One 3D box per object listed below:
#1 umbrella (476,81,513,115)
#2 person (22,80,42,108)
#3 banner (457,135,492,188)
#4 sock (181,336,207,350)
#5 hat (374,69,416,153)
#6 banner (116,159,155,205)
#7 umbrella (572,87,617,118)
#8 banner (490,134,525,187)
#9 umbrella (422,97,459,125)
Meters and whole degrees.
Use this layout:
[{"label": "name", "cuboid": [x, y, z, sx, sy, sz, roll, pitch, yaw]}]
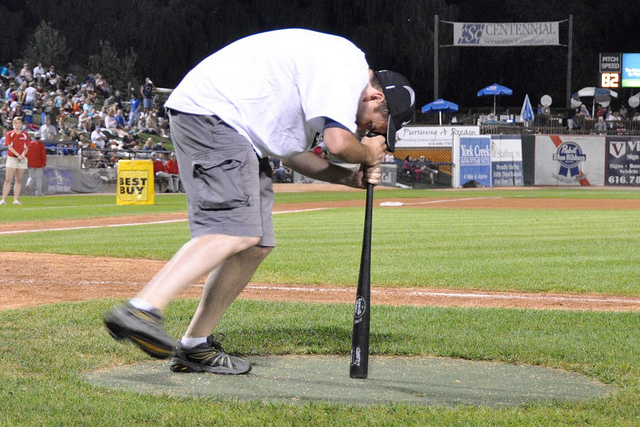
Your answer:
[{"label": "umbrella", "cuboid": [9.007, -6.006, 46.712, 1.786, 1.872, 1.781, 0, 10, 4]}, {"label": "person", "cuboid": [-11.518, -4.732, 36.224, 0.445, 0.817, 1.681, -2, 12, -8]}, {"label": "banner", "cuboid": [6.437, -2.296, 38.233, 2.019, 2.586, 0.197, -10, 19, -27]}, {"label": "sock", "cuboid": [-1.537, 1.608, 11.255, 0.361, 0.146, 0.117, -2, 6, -18]}, {"label": "hat", "cuboid": [0.913, -1.255, 11.134, 0.486, 1.006, 0.292, 0, 13, 0]}, {"label": "banner", "cuboid": [-5.406, -0.918, 26.543, 1.460, 1.676, 0.254, 0, 24, 2]}, {"label": "umbrella", "cuboid": [14.686, -6.144, 48.231, 1.744, 1.366, 1.704, -1, -13, 23]}, {"label": "banner", "cuboid": [8.007, -2.376, 39.163, 0.112, 2.415, 2.283, 0, 4, 40]}, {"label": "umbrella", "cuboid": [5.936, -5.080, 44.675, 1.788, 1.474, 1.704, 4, 14, 26]}]
